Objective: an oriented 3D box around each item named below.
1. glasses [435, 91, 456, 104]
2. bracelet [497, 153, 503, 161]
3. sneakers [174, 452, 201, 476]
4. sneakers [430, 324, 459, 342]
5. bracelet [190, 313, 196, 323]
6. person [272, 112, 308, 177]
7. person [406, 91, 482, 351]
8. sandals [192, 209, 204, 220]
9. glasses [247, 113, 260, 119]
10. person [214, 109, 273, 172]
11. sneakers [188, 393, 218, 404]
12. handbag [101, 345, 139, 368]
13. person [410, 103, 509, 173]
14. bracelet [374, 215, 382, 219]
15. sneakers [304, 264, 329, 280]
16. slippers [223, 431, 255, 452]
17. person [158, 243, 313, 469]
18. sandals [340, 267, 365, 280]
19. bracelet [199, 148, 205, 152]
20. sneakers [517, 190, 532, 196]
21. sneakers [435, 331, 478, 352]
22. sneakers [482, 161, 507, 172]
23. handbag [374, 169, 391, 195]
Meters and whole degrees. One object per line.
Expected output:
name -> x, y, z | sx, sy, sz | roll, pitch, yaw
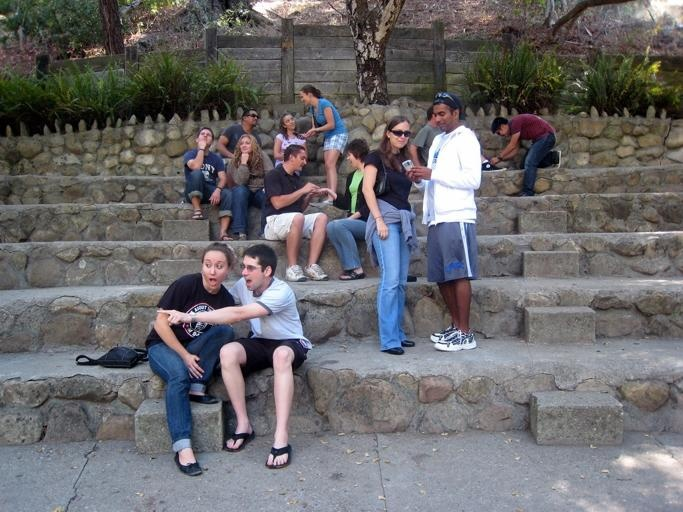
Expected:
glasses -> 0.988, -1.514, 6.874 | 0.182, 0.086, 0.244 | 0, 18, 9
bracelet -> 2.196, -1.379, 10.004 | 0.072, 0.049, 0.065 | -2, -6, -1
sneakers -> -1.291, 1.727, 6.017 | 0.109, 0.074, 0.274 | 2, 1, -38
sneakers -> 0.954, 0.748, 6.996 | 0.321, 0.138, 0.109 | -17, 9, 35
bracelet -> -1.292, 0.537, 6.295 | 0.058, 0.058, 0.059 | 1, 7, -2
person -> -0.688, -1.540, 9.630 | 0.527, 0.732, 0.519 | -8, 8, -42
person -> 0.956, -0.345, 7.000 | 0.747, 2.397, 0.826 | 0, 1, -15
sandals -> -1.708, -0.491, 8.504 | 0.114, 0.079, 0.292 | -2, 3, -9
glasses -> -1.159, -1.856, 9.489 | 0.078, 0.122, 0.209 | 2, 18, 13
person -> -1.313, -1.562, 9.687 | 0.544, 0.878, 0.528 | 14, -8, -31
sneakers -> -1.215, 1.258, 6.356 | 0.265, 0.073, 0.095 | 0, -2, -1
handbag -> -2.050, 0.921, 6.707 | 0.332, 0.157, 0.276 | 1, 18, 10
person -> 1.260, -1.417, 9.039 | 1.053, 0.758, 0.439 | -9, 36, -5
bracelet -> 0.355, -0.376, 6.935 | 0.071, 0.038, 0.041 | -1, 18, 3
sneakers -> -0.277, 0.171, 7.754 | 0.280, 0.130, 0.113 | 9, 9, 38
slippers -> -0.885, 1.598, 6.276 | 0.295, 0.122, 0.132 | -12, 20, -27
person -> -0.775, 0.790, 6.301 | 0.998, 1.679, 1.006 | -4, 18, -3
sandals -> 0.125, 0.184, 7.799 | 0.224, 0.088, 0.117 | 1, 0, -6
bracelet -> -1.701, -1.288, 8.763 | 0.041, 0.040, 0.042 | -3, -6, 33
sneakers -> 2.421, -0.836, 9.516 | 0.092, 0.047, 0.131 | 1, 0, 2
sneakers -> 1.098, 0.821, 6.959 | 0.439, 0.202, 0.157 | 1, 1, -9
sneakers -> 2.094, -1.247, 10.037 | 0.408, 0.166, 0.141 | -2, 5, -7
handbag -> 0.393, -0.734, 7.036 | 0.103, 0.243, 0.251 | 2, 0, -15
